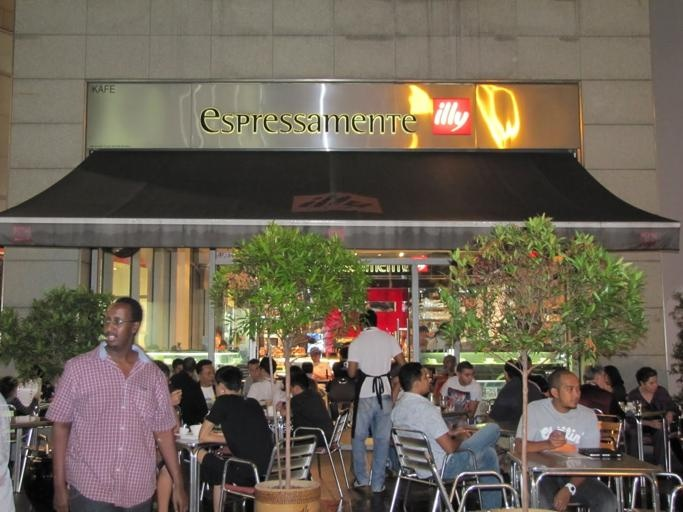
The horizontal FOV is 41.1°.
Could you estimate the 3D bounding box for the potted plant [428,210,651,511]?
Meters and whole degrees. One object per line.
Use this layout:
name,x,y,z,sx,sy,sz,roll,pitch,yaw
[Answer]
potted plant,1.885,0.972,9.354,2.170,3.809,2.452,1,-2,-7

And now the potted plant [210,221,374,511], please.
potted plant,-0.568,1.132,10.495,2.306,4.077,2.316,0,-4,-4

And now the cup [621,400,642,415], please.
cup,3.961,2.027,12.346,0.170,0.208,0.203,4,-11,-17

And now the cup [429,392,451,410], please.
cup,1.432,2.071,13.056,0.264,0.271,0.337,0,-10,-2
